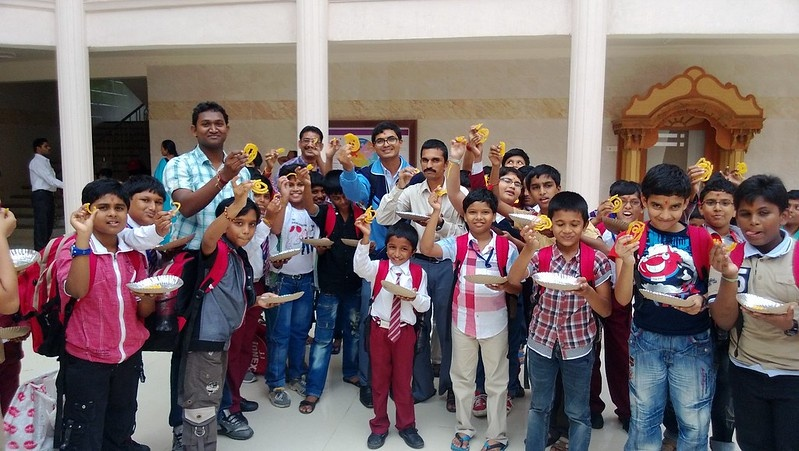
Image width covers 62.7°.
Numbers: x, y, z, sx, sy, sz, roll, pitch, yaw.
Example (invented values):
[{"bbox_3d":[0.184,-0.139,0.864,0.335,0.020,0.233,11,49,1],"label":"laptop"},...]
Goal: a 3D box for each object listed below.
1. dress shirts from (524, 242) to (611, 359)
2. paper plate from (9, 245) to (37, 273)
[{"bbox_3d":[1.922,0.872,7.405,0.918,1.277,0.270,2,7,12],"label":"dress shirts"},{"bbox_3d":[-4.142,0.371,7.097,0.264,0.235,0.392,2,7,18],"label":"paper plate"}]
